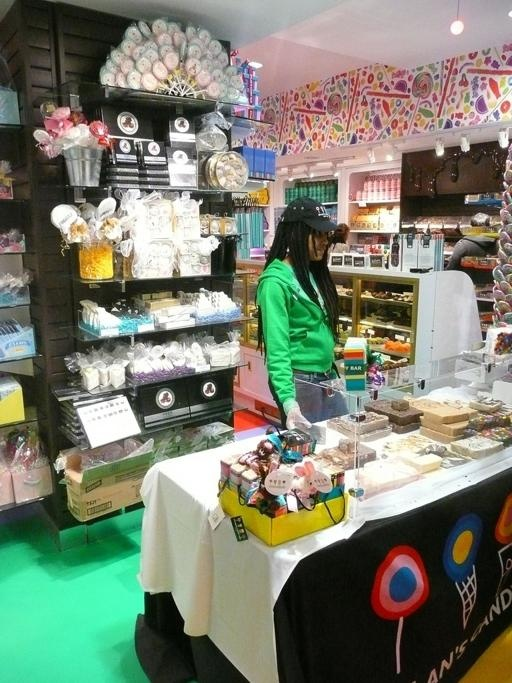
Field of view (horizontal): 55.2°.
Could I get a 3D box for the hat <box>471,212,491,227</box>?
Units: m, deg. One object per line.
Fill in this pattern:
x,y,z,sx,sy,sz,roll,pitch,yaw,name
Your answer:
2.264,-1.247,4.897,0.161,0.109,0.154,0,24,11,hat

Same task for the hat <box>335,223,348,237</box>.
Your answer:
0.345,-0.478,2.070,0.075,0.037,0.046,-4,-1,42,hat

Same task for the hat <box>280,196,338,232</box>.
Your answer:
0.215,-0.520,1.971,0.211,0.112,0.138,5,20,14,hat
